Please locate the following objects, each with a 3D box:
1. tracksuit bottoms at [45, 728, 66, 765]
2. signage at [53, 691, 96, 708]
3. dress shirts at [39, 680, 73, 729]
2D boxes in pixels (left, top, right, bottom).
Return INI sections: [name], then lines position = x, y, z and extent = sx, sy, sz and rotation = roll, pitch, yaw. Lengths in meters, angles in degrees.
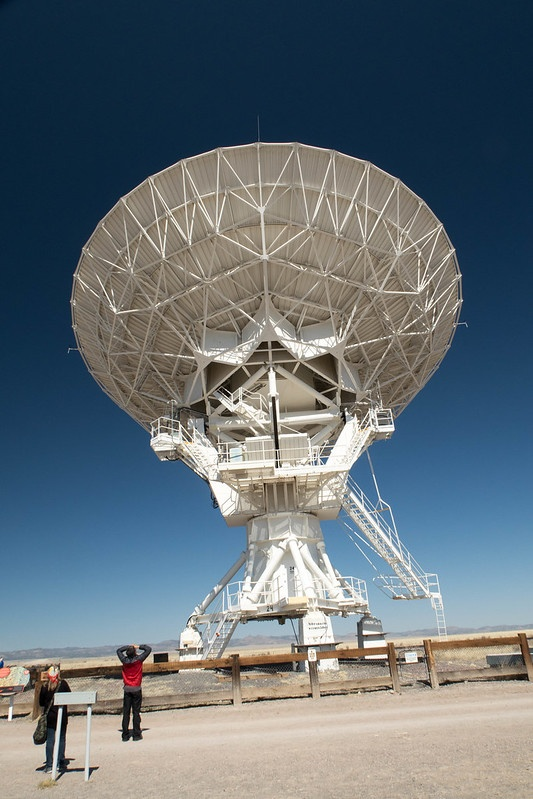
[tracksuit bottoms]
position = -2.877, 4.751, 8.006
extent = 0.242, 0.519, 0.515
rotation = 3, -22, -19
[signage]
position = -2.550, 3.967, 7.767
extent = 0.490, 0.184, 0.634
rotation = 5, -23, -24
[dress shirts]
position = -2.893, 4.321, 8.356
extent = 0.397, 0.637, 0.244
rotation = 24, -3, -32
